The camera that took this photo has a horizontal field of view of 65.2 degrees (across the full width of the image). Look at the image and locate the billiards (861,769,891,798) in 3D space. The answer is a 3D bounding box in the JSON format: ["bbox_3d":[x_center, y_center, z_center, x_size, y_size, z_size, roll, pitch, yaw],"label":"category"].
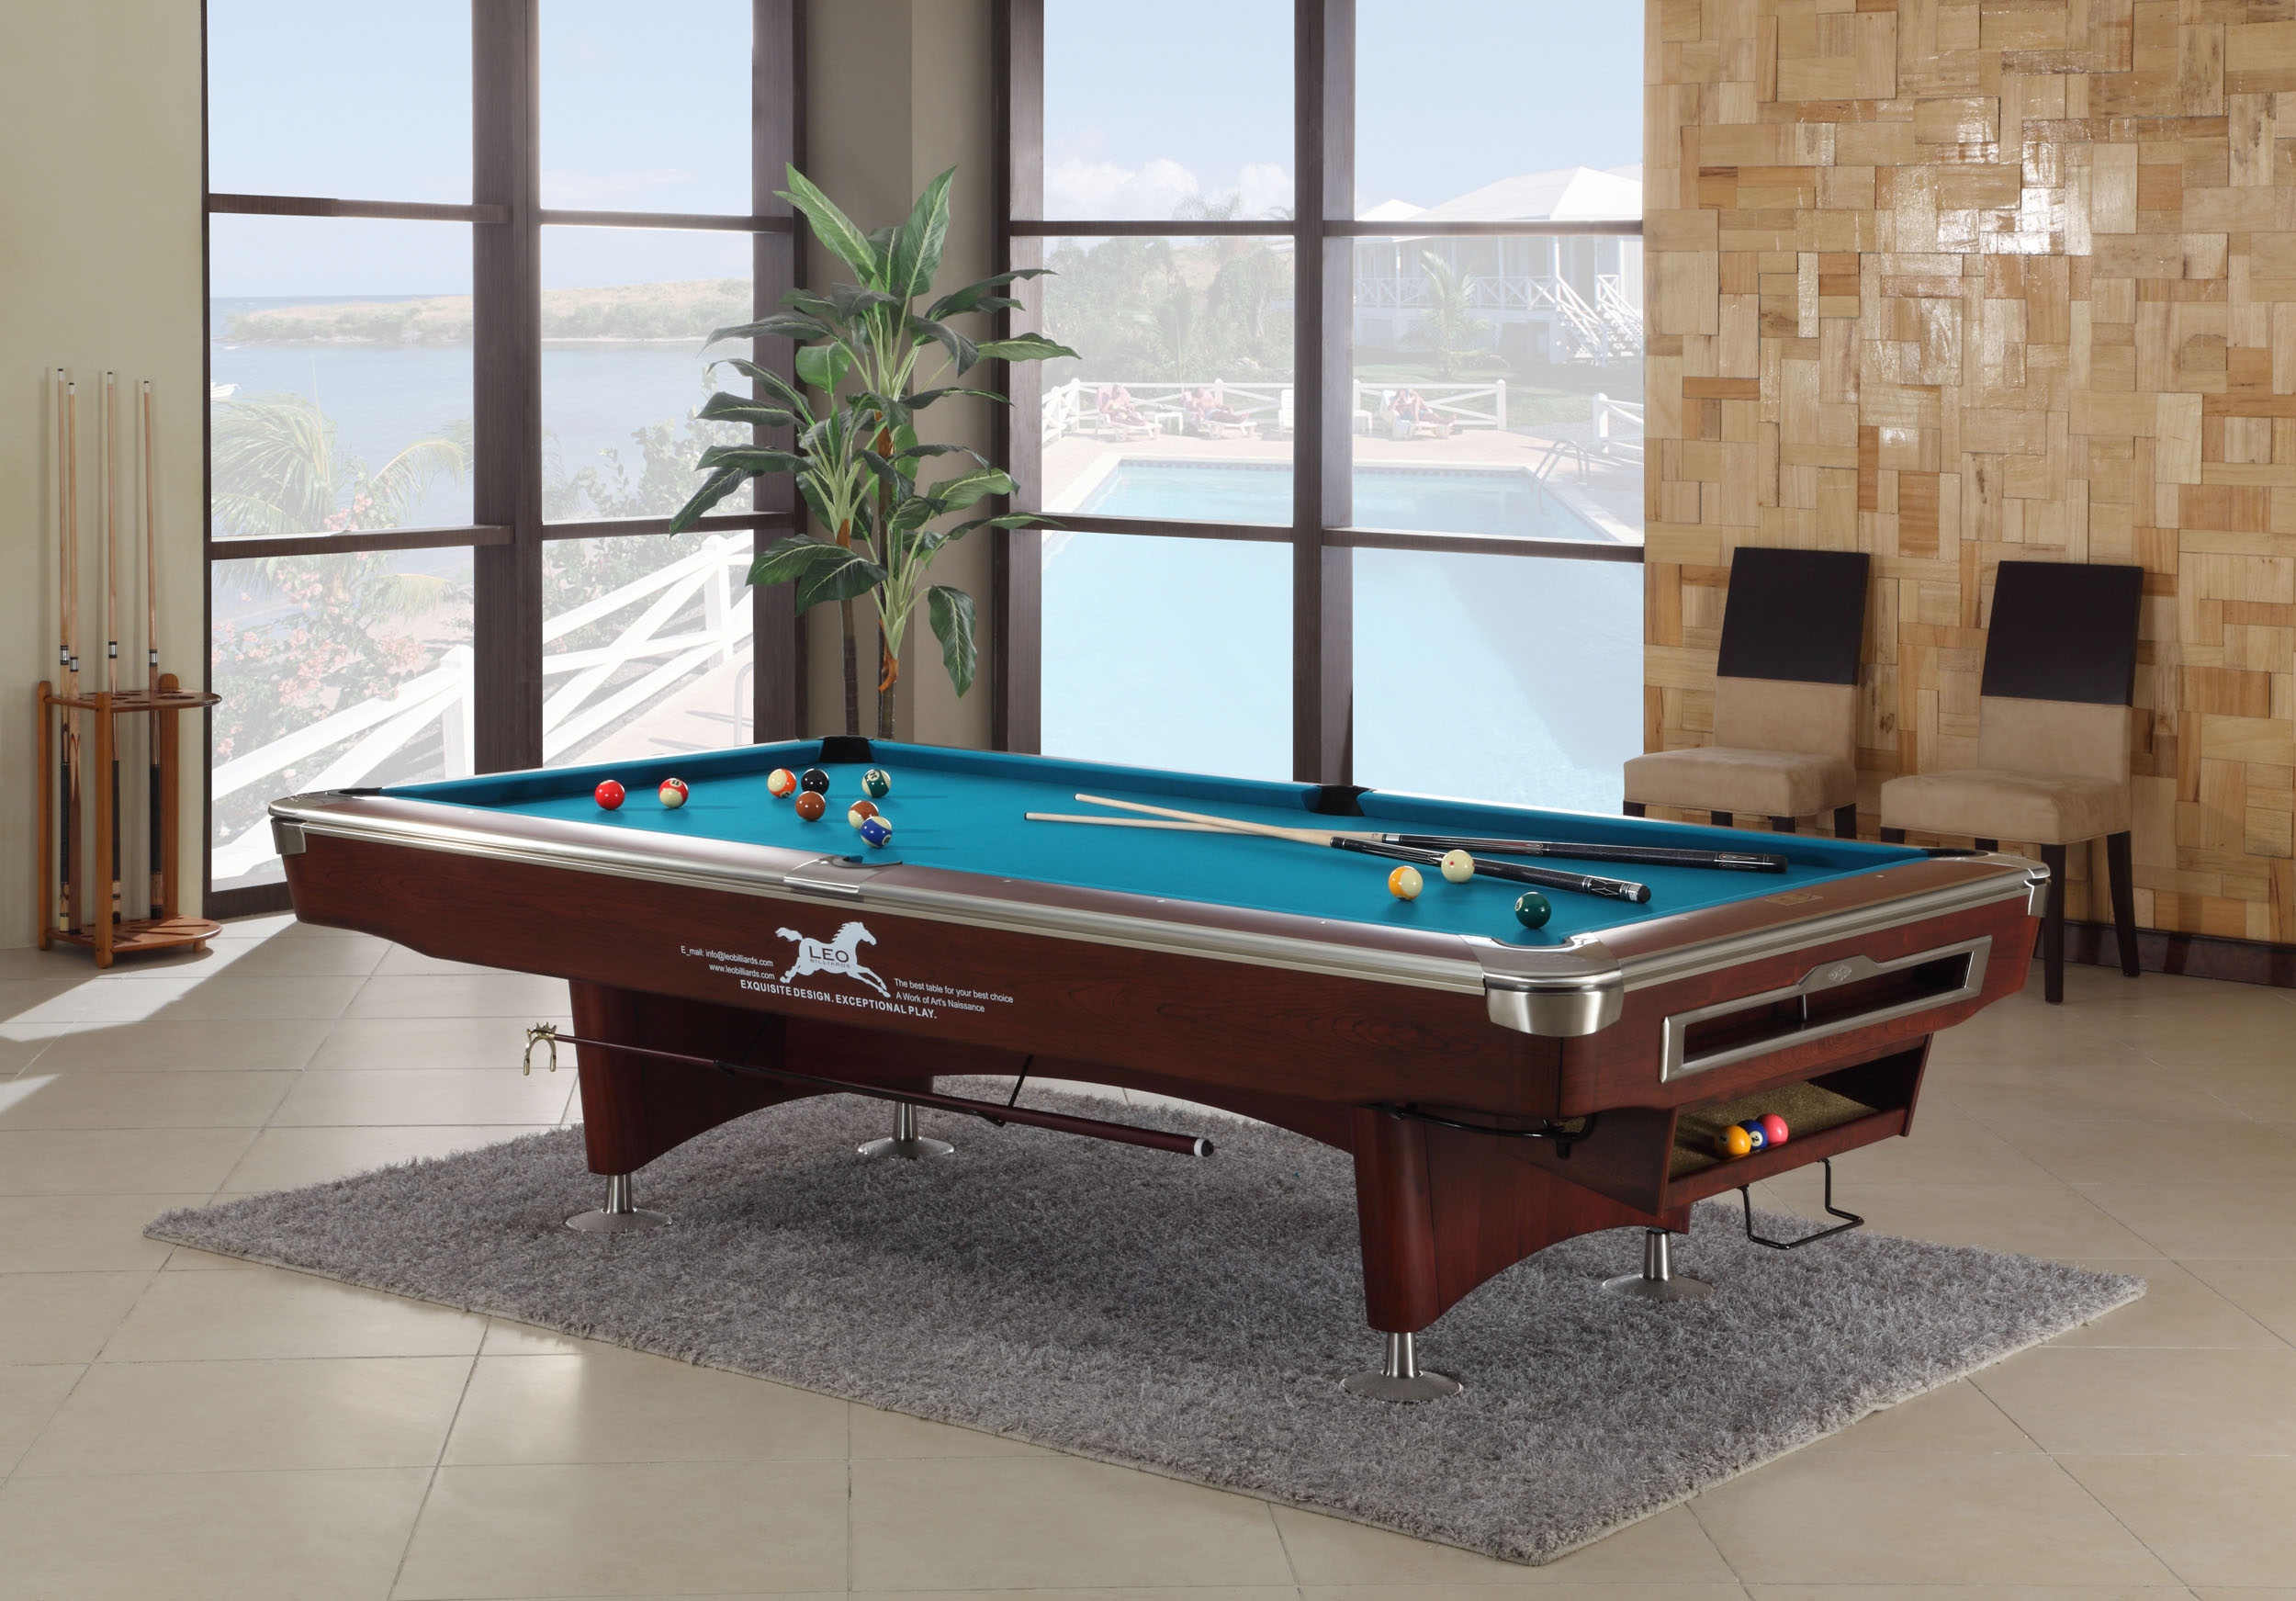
[{"bbox_3d":[-0.596,-0.039,3.958,0.047,0.044,0.046,-17,20,44],"label":"billiards"}]

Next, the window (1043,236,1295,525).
[{"bbox_3d":[0.093,-1.921,8.007,1.649,1.281,0.080,4,-4,-8],"label":"window"}]

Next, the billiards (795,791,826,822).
[{"bbox_3d":[-0.687,0.009,3.709,0.078,0.063,0.066,-1,-2,-6],"label":"billiards"}]

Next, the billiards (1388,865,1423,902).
[{"bbox_3d":[0.443,0.138,3.053,0.061,0.051,0.059,0,-4,-40],"label":"billiards"}]

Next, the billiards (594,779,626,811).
[{"bbox_3d":[-1.146,-0.013,3.827,0.059,0.050,0.056,-6,16,19],"label":"billiards"}]

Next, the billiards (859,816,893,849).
[{"bbox_3d":[-0.515,0.054,3.447,0.071,0.061,0.071,-3,3,33],"label":"billiards"}]

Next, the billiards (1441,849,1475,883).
[{"bbox_3d":[0.548,0.110,3.116,0.062,0.051,0.057,8,1,19],"label":"billiards"}]

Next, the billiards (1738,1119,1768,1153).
[{"bbox_3d":[1.020,0.552,2.990,0.057,0.053,0.052,-3,4,-5],"label":"billiards"}]

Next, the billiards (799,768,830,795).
[{"bbox_3d":[-0.708,-0.044,3.827,0.082,0.076,0.074,-1,1,-3],"label":"billiards"}]

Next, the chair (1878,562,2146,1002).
[{"bbox_3d":[2.792,-0.086,5.717,0.780,1.111,0.692,-8,11,-18],"label":"chair"}]

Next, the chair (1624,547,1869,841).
[{"bbox_3d":[2.083,-0.226,6.182,0.680,1.016,0.699,7,21,44],"label":"chair"}]

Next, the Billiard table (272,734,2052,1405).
[{"bbox_3d":[-0.113,0.449,3.503,3.064,0.892,1.312,6,11,32],"label":"Billiard table"}]
